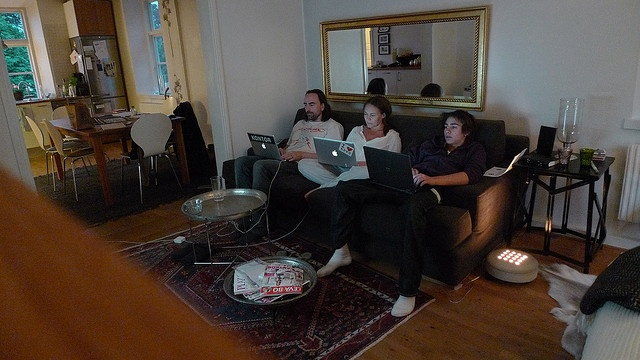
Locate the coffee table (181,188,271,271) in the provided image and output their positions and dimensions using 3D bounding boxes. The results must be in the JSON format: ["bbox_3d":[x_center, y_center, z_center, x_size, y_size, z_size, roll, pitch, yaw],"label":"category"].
[{"bbox_3d":[-0.667,0.313,2.916,0.598,0.373,0.608,-2,20,-5],"label":"coffee table"}]

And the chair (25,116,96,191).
[{"bbox_3d":[-3.111,-0.316,4.784,0.451,0.731,0.973,-17,25,-36],"label":"chair"}]

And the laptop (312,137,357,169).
[{"bbox_3d":[0.117,-0.212,3.105,0.365,0.228,0.257,14,37,37],"label":"laptop"}]

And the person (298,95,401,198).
[{"bbox_3d":[0.299,-0.318,3.468,0.915,0.920,0.839,-7,21,-35],"label":"person"}]

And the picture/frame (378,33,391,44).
[{"bbox_3d":[0.599,-1.322,3.679,0.112,0.076,0.009,13,24,38],"label":"picture/frame"}]

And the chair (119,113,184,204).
[{"bbox_3d":[-2.078,-0.373,4.684,0.587,0.925,1.433,-13,23,-26],"label":"chair"}]

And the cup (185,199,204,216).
[{"bbox_3d":[-0.874,0.185,2.751,0.114,0.077,0.113,1,10,0],"label":"cup"}]

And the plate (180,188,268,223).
[{"bbox_3d":[-0.653,0.169,2.795,0.359,0.036,0.373,17,26,40],"label":"plate"}]

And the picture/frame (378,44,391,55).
[{"bbox_3d":[0.606,-1.231,3.709,0.109,0.071,0.006,12,24,38],"label":"picture/frame"}]

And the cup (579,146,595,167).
[{"bbox_3d":[1.749,-0.158,2.592,0.123,0.128,0.120,-6,16,2],"label":"cup"}]

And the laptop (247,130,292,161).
[{"bbox_3d":[-0.445,-0.301,3.526,0.356,0.200,0.250,11,29,42],"label":"laptop"}]

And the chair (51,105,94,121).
[{"bbox_3d":[-3.000,-0.807,4.773,0.428,0.269,0.221,17,26,32],"label":"chair"}]

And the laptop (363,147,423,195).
[{"bbox_3d":[0.487,-0.013,2.691,0.328,0.286,0.417,-25,29,-37],"label":"laptop"}]

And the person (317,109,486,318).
[{"bbox_3d":[0.645,0.097,2.797,1.099,1.192,0.827,-6,13,-36],"label":"person"}]

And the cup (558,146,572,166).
[{"bbox_3d":[1.652,-0.176,2.661,0.073,0.116,0.171,11,24,31],"label":"cup"}]

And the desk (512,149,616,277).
[{"bbox_3d":[1.781,0.119,3.125,0.819,0.932,0.824,10,21,44],"label":"desk"}]

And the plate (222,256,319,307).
[{"bbox_3d":[-0.277,0.608,2.380,0.389,0.048,0.368,1,20,7],"label":"plate"}]

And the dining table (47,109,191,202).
[{"bbox_3d":[-2.276,-0.421,4.704,1.454,0.834,1.158,10,18,36],"label":"dining table"}]
